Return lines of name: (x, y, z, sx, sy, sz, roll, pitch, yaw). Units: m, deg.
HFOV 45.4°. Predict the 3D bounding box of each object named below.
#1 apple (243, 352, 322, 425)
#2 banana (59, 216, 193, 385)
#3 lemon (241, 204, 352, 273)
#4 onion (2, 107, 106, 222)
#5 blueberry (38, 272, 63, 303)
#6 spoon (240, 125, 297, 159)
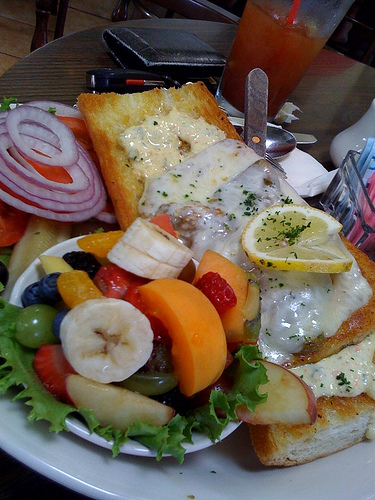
apple: (0.178, 0.277, 0.827, 0.124, 0.111, 0.092, 17, 39, -3)
banana: (-0.061, 0.081, 0.791, 0.360, 0.232, 0.072, -52, 121, -36)
lemon: (0.243, -0.024, 0.975, 0.234, 0.070, 0.216, 22, 37, 6)
onion: (-0.329, -0.211, 1.116, 0.276, 0.210, 0.239, 8, 40, -15)
blueberry: (-0.258, 0.071, 0.853, 0.061, 0.022, 0.051, 4, 78, 7)
spoon: (0.320, -0.373, 1.580, 0.114, 0.059, 0.178, 19, 37, 1)
